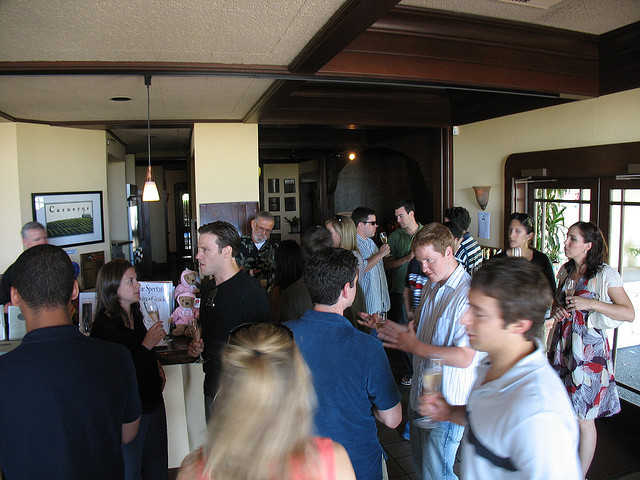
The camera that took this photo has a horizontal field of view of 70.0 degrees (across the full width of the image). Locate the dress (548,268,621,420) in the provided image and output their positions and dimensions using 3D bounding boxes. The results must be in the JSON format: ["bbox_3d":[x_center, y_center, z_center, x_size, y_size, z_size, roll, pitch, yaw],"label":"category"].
[{"bbox_3d":[1.930,0.882,3.316,0.444,0.807,0.370,-1,5,23],"label":"dress"}]

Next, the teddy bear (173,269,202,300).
[{"bbox_3d":[-1.039,0.362,3.549,0.200,0.270,0.172,0,-9,-29],"label":"teddy bear"}]

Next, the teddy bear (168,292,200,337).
[{"bbox_3d":[-1.031,0.566,3.439,0.280,0.363,0.230,-1,11,-13],"label":"teddy bear"}]
